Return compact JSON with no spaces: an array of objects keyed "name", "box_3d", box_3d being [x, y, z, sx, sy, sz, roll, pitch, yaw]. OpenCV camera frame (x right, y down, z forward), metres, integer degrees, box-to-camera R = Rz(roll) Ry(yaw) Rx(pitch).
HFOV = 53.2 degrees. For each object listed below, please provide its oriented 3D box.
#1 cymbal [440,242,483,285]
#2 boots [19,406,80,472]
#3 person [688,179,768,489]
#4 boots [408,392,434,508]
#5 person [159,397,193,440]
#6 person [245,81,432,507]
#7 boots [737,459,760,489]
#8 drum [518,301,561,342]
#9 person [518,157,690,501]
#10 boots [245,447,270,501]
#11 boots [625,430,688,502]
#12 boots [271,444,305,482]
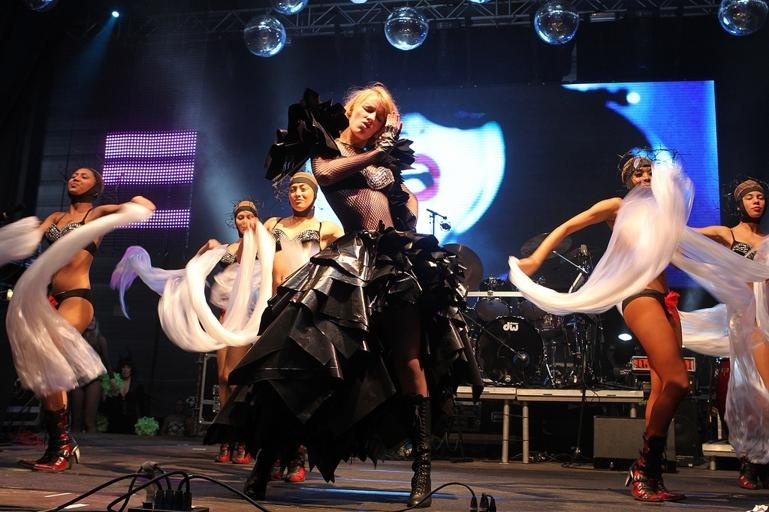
[{"name":"cymbal","box_3d":[1.120,0.132,10.519,0.467,0.631,0.405,7,-8,-41]},{"name":"boots","box_3d":[-2.717,1.510,6.321,0.337,0.473,0.245,1,-6,9]},{"name":"person","box_3d":[3.145,0.611,6.826,0.522,2.758,0.895,0,-7,21]},{"name":"boots","box_3d":[0.248,1.348,5.346,0.155,0.721,0.208,2,-6,1]},{"name":"person","box_3d":[-2.992,2.335,11.205,0.449,0.485,0.715,4,-6,-16]},{"name":"person","box_3d":[-0.289,0.183,5.471,1.316,3.061,0.631,2,-6,2]},{"name":"boots","box_3d":[3.088,1.846,6.505,0.168,0.240,0.141,-1,-7,22]},{"name":"drum","box_3d":[2.065,0.830,10.121,0.564,0.474,0.544,-14,-1,13]},{"name":"person","box_3d":[1.941,0.445,6.100,1.390,2.863,0.827,7,-8,-36]},{"name":"boots","box_3d":[-0.877,1.526,5.406,0.187,0.349,0.254,3,-6,-10]},{"name":"boots","box_3d":[2.054,1.606,5.814,0.370,0.467,0.281,-1,-7,21]},{"name":"boots","box_3d":[-0.726,1.663,6.094,0.237,0.239,0.584,3,-19,1]}]
